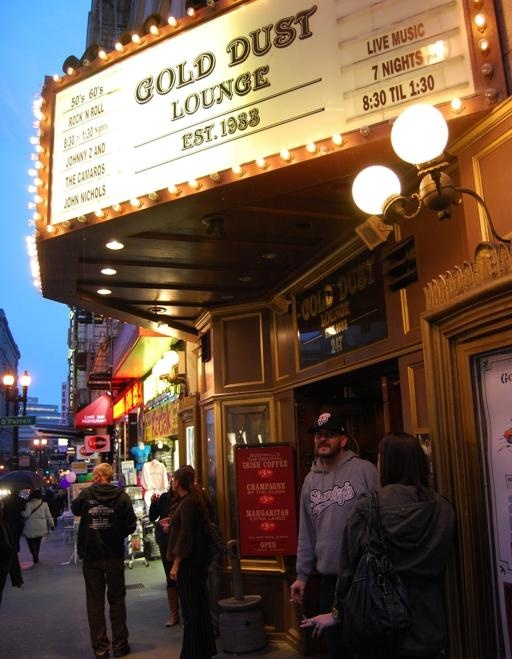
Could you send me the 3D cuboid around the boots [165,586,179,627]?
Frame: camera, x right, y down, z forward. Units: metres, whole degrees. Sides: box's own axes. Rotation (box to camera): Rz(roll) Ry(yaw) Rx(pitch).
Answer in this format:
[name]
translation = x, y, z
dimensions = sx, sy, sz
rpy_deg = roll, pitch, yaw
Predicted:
[boots]
translation = -0.993, 3.221, 6.728
dimensions = 0.158, 0.438, 0.316
rpy_deg = -1, -11, -9
